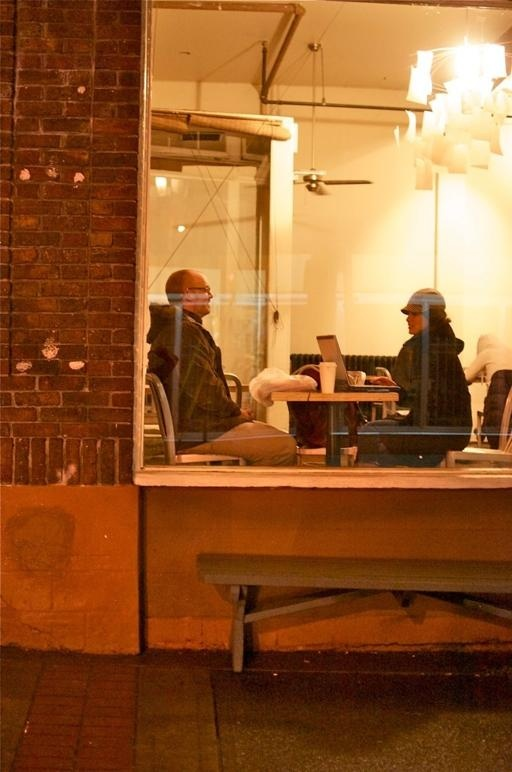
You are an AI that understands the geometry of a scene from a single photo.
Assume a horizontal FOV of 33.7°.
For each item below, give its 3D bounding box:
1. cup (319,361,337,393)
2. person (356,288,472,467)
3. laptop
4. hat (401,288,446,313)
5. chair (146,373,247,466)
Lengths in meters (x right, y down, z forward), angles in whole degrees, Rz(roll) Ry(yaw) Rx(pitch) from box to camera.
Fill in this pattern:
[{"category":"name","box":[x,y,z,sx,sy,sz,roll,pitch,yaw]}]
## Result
[{"category":"cup","box":[0.311,-0.035,3.650,0.068,0.137,0.030,1,9,0]},{"category":"person","box":[0.713,-0.019,3.815,0.493,0.815,0.399,3,8,27]},{"category":"laptop","box":[0.494,-0.099,3.726,0.295,0.239,0.352,-1,-1,1]},{"category":"hat","box":[0.733,-0.367,3.674,0.150,0.084,0.104,2,-1,-5]},{"category":"chair","box":[-0.266,0.154,3.818,0.418,0.577,0.332,-2,-1,-6]}]
